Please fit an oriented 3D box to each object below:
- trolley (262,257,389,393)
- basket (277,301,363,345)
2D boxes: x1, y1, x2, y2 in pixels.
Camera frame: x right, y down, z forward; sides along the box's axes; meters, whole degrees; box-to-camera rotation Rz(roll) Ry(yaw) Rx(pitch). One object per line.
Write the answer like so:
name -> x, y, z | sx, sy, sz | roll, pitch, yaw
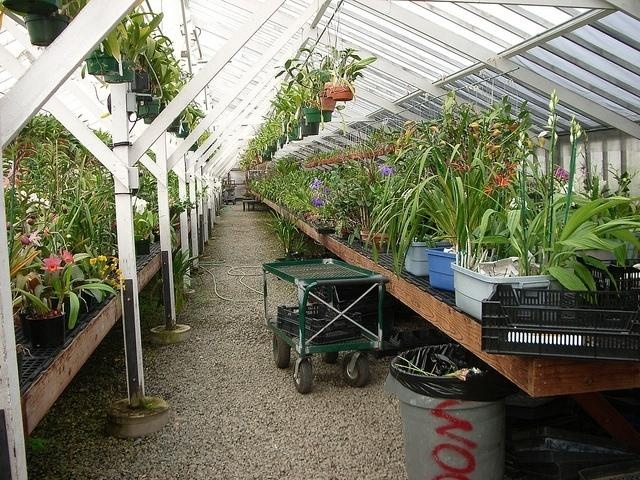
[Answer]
trolley -> -0.019, 0.660, 3.786 | 0.656, 0.867, 1.108 | 0, 2, -24
basket -> -0.005, 0.618, 3.496 | 0.377, 0.189, 0.548 | -1, 1, -16
